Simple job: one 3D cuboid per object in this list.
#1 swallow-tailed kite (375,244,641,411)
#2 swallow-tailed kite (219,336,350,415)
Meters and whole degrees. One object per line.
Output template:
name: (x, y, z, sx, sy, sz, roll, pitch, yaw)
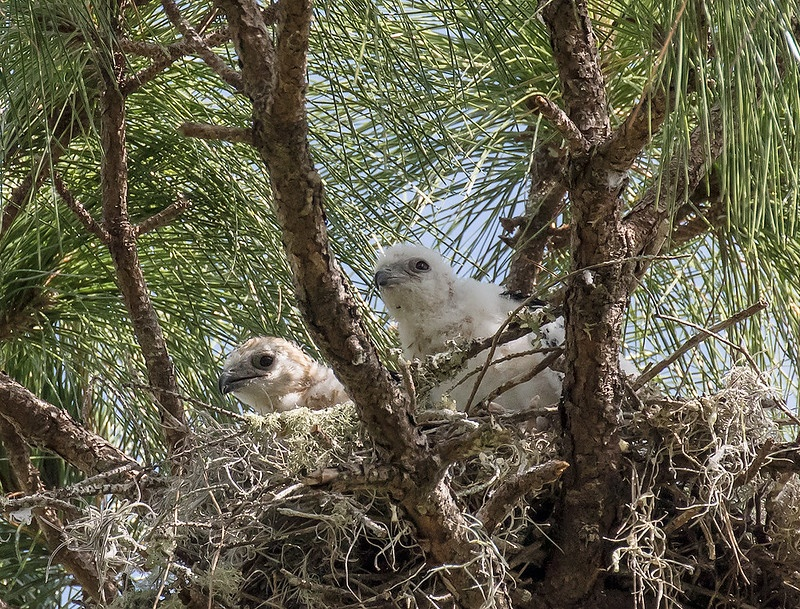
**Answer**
swallow-tailed kite: (0.346, 0.149, 5.982, 0.916, 0.749, 0.582, 4, -33, 7)
swallow-tailed kite: (-0.460, 0.288, 6.288, 0.519, 0.295, 0.306, 15, -50, -20)
